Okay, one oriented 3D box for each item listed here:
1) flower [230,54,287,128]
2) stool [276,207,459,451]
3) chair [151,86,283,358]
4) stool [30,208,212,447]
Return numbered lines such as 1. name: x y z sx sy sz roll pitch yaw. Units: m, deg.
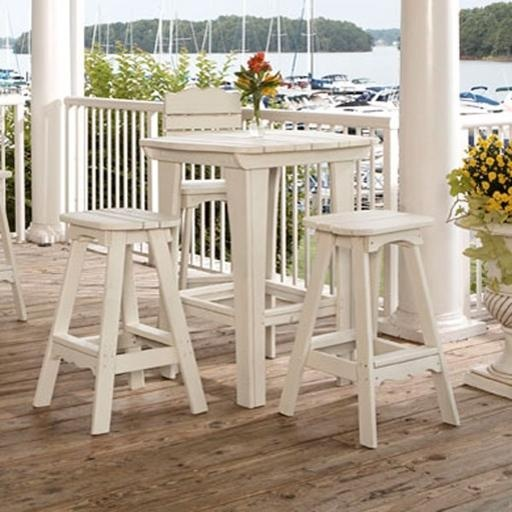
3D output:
1. flower: 0.016 -0.631 2.524 0.195 0.235 0.170 10 25 16
2. stool: 0.321 0.183 2.075 0.464 0.629 0.526 -5 11 -25
3. chair: -0.252 -0.303 2.951 0.454 0.893 0.399 14 56 -4
4. stool: -0.442 0.174 2.396 0.692 0.873 0.715 -1 4 -40
